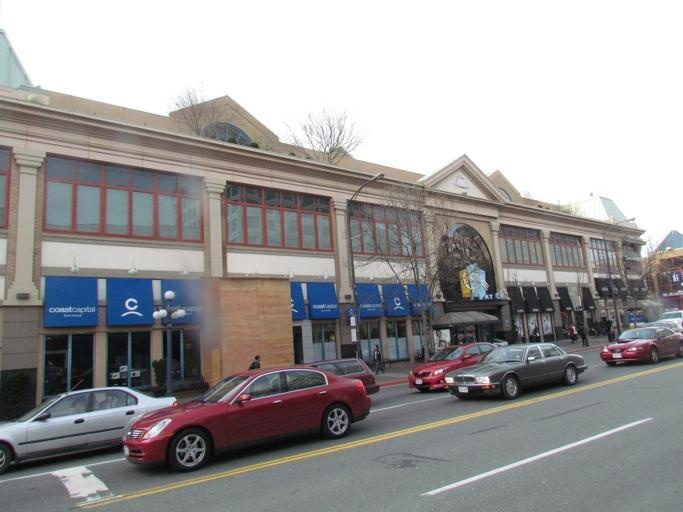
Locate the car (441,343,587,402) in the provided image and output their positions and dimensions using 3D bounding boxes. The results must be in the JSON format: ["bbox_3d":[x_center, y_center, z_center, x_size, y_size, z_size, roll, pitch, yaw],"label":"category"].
[{"bbox_3d":[6.040,3.946,16.021,4.554,1.587,1.526,-1,-7,-29],"label":"car"}]

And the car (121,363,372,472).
[{"bbox_3d":[-2.116,3.596,11.267,5.796,1.767,2.250,3,-11,-29],"label":"car"}]

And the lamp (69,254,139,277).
[{"bbox_3d":[-11.633,0.535,22.119,3.599,1.374,0.827,-3,0,-29],"label":"lamp"}]

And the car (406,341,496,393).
[{"bbox_3d":[4.614,4.600,19.094,3.960,1.257,1.786,3,-15,-40],"label":"car"}]

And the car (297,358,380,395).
[{"bbox_3d":[0.024,4.247,15.965,2.942,0.954,1.308,8,-12,-29],"label":"car"}]
